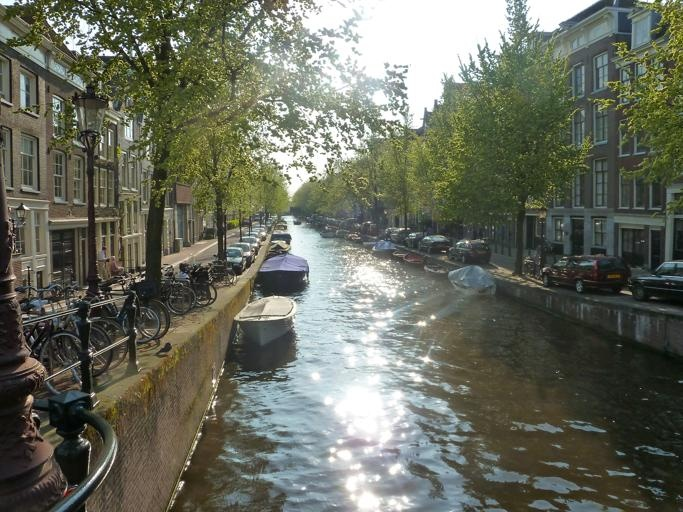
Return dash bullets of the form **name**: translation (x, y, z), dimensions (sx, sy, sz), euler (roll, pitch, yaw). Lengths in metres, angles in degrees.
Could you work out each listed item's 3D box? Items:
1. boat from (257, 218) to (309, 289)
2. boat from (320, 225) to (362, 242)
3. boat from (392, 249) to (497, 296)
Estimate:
- **boat**: translation (-3.966, 0.474, 42.993), dimensions (2.360, 1.892, 10.293), euler (1, 9, -4)
- **boat**: translation (0.289, -3.503, 94.603), dimensions (8.206, 2.091, 2.732), euler (10, 21, 42)
- **boat**: translation (6.793, 1.179, 37.809), dimensions (1.530, 1.051, 6.666), euler (-6, 13, -17)
